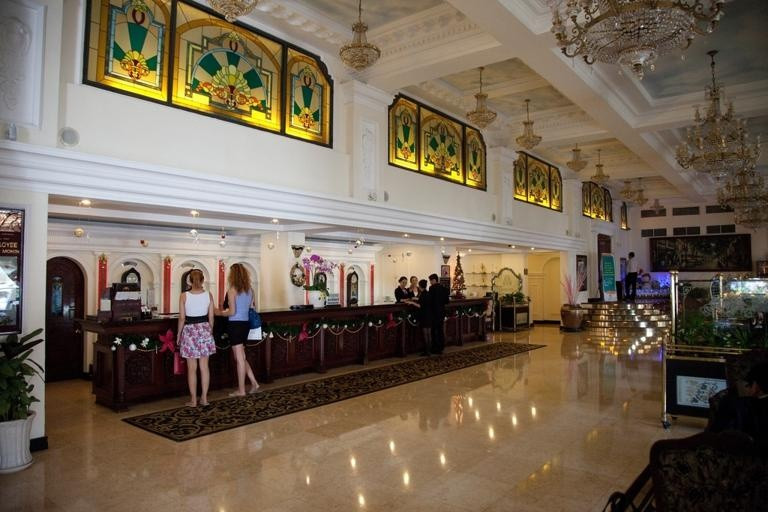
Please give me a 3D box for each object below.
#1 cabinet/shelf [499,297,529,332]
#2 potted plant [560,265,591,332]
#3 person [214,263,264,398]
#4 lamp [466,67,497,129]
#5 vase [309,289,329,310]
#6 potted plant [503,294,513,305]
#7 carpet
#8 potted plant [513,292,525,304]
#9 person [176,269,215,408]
[{"bbox_3d":[5.041,2.248,19.711,1.038,1.561,1.554,-3,-4,35],"label":"cabinet/shelf"},{"bbox_3d":[7.538,1.784,20.153,0.922,1.997,2.806,1,4,20],"label":"potted plant"},{"bbox_3d":[-2.843,1.409,9.991,0.668,2.546,0.735,0,4,-6],"label":"person"},{"bbox_3d":[2.506,-3.992,13.232,0.660,1.507,2.279,1,4,9],"label":"lamp"},{"bbox_3d":[-1.653,1.136,13.521,0.525,0.481,0.508,0,-4,26],"label":"vase"},{"bbox_3d":[4.706,1.633,19.213,0.386,0.351,0.277,1,4,13],"label":"potted plant"},{"bbox_3d":[-0.621,2.755,10.858,8.618,0.325,1.684,-3,5,-42],"label":"carpet"},{"bbox_3d":[5.159,1.592,19.429,0.434,0.461,0.440,0,1,37],"label":"potted plant"},{"bbox_3d":[-3.466,1.495,9.402,0.664,2.465,0.630,-2,4,-23],"label":"person"}]
